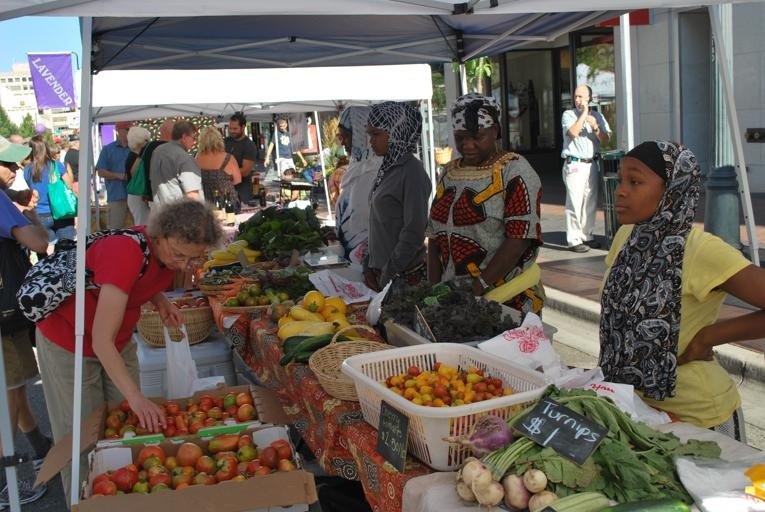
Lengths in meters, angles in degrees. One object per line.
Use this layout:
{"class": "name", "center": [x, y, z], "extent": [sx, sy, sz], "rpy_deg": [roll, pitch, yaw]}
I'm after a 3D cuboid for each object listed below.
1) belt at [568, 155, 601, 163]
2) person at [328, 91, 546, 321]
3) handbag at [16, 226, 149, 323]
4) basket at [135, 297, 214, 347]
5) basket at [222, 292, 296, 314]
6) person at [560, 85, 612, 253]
{"class": "belt", "center": [3.549, -1.717, 9.215], "extent": [0.585, 0.146, 0.250], "rpy_deg": [-3, 10, 5]}
{"class": "person", "center": [0.581, -0.370, 3.974], "extent": [0.810, 2.740, 0.895], "rpy_deg": [-8, 11, -31]}
{"class": "handbag", "center": [-1.822, 0.111, 3.319], "extent": [0.864, 0.309, 0.514], "rpy_deg": [-32, 44, 9]}
{"class": "basket", "center": [-1.839, 0.609, 4.805], "extent": [0.761, 0.404, 0.782], "rpy_deg": [-10, 12, -30]}
{"class": "basket", "center": [-1.073, 0.390, 4.436], "extent": [0.353, 0.083, 0.285], "rpy_deg": [-6, -1, 32]}
{"class": "person", "center": [3.569, -1.540, 9.234], "extent": [0.993, 2.795, 0.873], "rpy_deg": [-3, 6, -23]}
